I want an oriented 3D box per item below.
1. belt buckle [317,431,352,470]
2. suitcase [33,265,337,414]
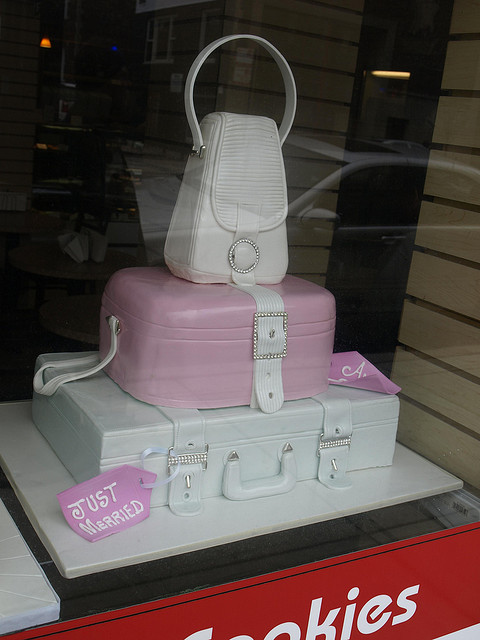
[{"bbox_3d":[0.141,0.183,0.774,0.046,0.036,0.035,-8,-23,23],"label":"belt buckle"},{"bbox_3d":[-0.059,0.011,0.773,0.397,0.142,0.249,2,17,-6],"label":"suitcase"}]
